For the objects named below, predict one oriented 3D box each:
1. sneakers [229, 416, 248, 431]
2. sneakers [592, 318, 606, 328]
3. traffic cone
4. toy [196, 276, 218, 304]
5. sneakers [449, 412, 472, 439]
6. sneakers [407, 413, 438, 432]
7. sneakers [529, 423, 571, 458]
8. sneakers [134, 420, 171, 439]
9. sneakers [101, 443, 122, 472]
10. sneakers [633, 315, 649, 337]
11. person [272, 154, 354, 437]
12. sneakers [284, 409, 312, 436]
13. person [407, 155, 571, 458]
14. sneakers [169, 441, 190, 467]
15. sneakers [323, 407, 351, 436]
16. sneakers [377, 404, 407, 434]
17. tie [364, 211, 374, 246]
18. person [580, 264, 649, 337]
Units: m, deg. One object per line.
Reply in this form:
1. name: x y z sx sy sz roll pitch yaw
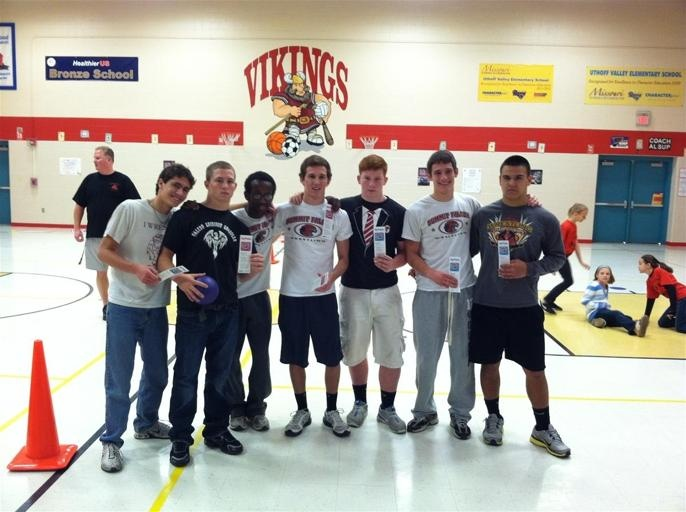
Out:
1. sneakers: -1.036 1.659 5.506 0.132 0.102 0.136 -6 -7 42
2. sneakers: 3.801 0.988 8.286 0.192 0.133 0.138 5 13 25
3. traffic cone: -2.685 1.302 4.915 0.541 1.094 0.425 -3 11 -12
4. toy: -1.179 0.292 4.861 0.215 0.252 0.208 0 -5 -16
5. sneakers: 1.149 1.682 5.419 0.112 0.124 0.268 -1 0 -5
6. sneakers: 0.787 1.647 5.548 0.310 0.143 0.132 0 0 -32
7. sneakers: 1.966 1.734 5.290 0.160 0.209 0.441 2 3 -24
8. sneakers: -1.799 1.686 5.416 0.419 0.195 0.163 0 1 -13
9. sneakers: -2.044 1.776 4.917 0.190 0.201 0.186 -3 12 -15
10. sneakers: 4.223 0.996 7.846 0.128 0.390 0.164 5 8 5
11. person: -0.296 0.371 5.496 0.771 2.671 0.731 0 11 0
12. sneakers: -0.450 1.649 5.456 0.128 0.132 0.307 2 -1 21
13. person: 1.669 0.426 5.361 0.915 2.718 0.799 2 11 12
14. sneakers: -1.459 1.771 4.994 0.108 0.120 0.279 1 5 -6
15. sneakers: -0.059 1.651 5.540 0.132 0.151 0.344 1 -1 -29
16. sneakers: 0.480 1.636 5.562 0.139 0.157 0.321 -1 6 -38
17. tie: 0.260 -0.275 5.593 0.114 0.326 0.087 0 11 1
18. person: 4.282 0.788 8.449 0.614 1.209 1.126 22 -23 -26
